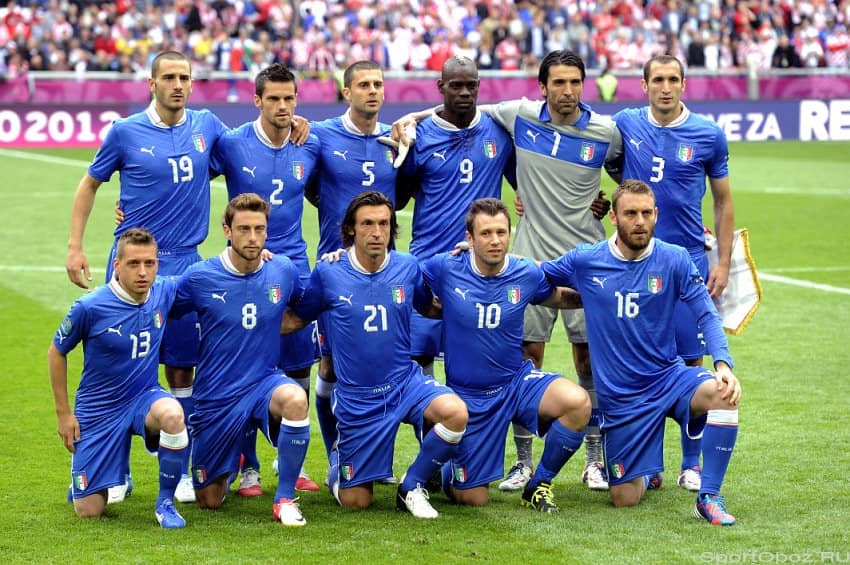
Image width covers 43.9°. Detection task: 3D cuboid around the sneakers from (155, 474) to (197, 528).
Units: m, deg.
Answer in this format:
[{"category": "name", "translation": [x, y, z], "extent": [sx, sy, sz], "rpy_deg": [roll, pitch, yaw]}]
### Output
[{"category": "sneakers", "translation": [-1.905, 1.703, 8.053], "extent": [0.140, 0.183, 0.418], "rpy_deg": [27, 1, -19]}]

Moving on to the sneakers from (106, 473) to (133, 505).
[{"category": "sneakers", "translation": [-2.409, 1.637, 8.285], "extent": [0.090, 0.119, 0.277], "rpy_deg": [1, -4, 2]}]

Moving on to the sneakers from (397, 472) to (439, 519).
[{"category": "sneakers", "translation": [-0.069, 1.668, 8.101], "extent": [0.175, 0.230, 0.499], "rpy_deg": [-3, 5, -27]}]

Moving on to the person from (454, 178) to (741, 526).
[{"category": "person", "translation": [1.706, 0.694, 8.100], "extent": [1.362, 2.083, 0.616], "rpy_deg": [1, 7, 19]}]

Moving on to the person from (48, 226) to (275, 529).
[{"category": "person", "translation": [-2.301, 0.697, 7.913], "extent": [0.998, 2.193, 0.569], "rpy_deg": [-1, 7, -3]}]

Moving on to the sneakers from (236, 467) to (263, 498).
[{"category": "sneakers", "translation": [-1.422, 1.611, 8.495], "extent": [0.206, 0.218, 0.542], "rpy_deg": [0, -7, -11]}]

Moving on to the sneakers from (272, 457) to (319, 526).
[{"category": "sneakers", "translation": [-1.058, 1.687, 8.128], "extent": [0.184, 0.239, 0.542], "rpy_deg": [-2, 7, -32]}]
